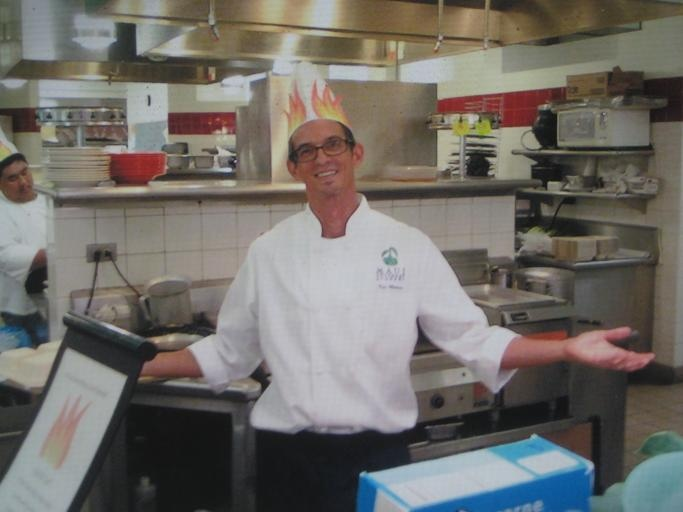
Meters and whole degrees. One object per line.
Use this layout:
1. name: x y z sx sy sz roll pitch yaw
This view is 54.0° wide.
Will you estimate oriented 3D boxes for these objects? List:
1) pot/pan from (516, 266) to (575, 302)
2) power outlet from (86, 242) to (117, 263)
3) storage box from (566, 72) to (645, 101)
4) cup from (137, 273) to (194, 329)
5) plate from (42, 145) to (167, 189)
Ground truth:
1. pot/pan: 1.336 0.144 4.514 0.310 0.298 0.301 -6 9 -42
2. power outlet: -1.147 -0.025 3.201 0.144 0.089 0.044 -5 8 -18
3. storage box: 1.989 -1.321 5.170 0.430 0.133 0.256 4 9 41
4. cup: -0.795 0.197 3.081 0.266 0.200 0.215 -4 7 -20
5. plate: -1.198 -0.439 3.355 0.352 0.119 0.405 3 7 25
